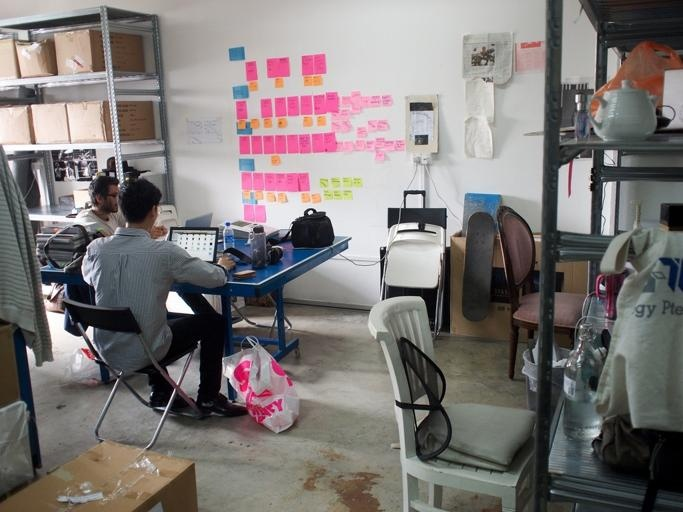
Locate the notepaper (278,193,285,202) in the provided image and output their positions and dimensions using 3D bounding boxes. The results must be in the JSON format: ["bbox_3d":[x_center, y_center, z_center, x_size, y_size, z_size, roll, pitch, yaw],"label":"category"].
[{"bbox_3d":[-0.596,-0.585,5.257,0.076,0.078,0.074,0,9,-2],"label":"notepaper"}]

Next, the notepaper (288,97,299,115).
[{"bbox_3d":[-0.467,-1.447,5.042,0.158,0.228,0.024,3,7,25],"label":"notepaper"}]

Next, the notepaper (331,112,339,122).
[{"bbox_3d":[-0.067,-1.293,4.907,0.073,0.073,0.046,0,1,20],"label":"notepaper"}]

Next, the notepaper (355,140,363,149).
[{"bbox_3d":[0.157,-1.029,4.872,0.079,0.092,0.003,1,11,18],"label":"notepaper"}]

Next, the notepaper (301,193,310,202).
[{"bbox_3d":[-0.357,-0.576,5.166,0.089,0.086,0.021,5,2,20],"label":"notepaper"}]

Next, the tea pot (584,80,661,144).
[{"bbox_3d":[0.886,-0.460,1.669,0.212,0.185,0.166,-2,10,6],"label":"tea pot"}]

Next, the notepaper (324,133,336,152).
[{"bbox_3d":[-0.118,-1.073,4.969,0.115,0.164,0.049,1,7,17],"label":"notepaper"}]

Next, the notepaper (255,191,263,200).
[{"bbox_3d":[-0.839,-0.617,5.333,0.069,0.069,0.040,8,17,25],"label":"notepaper"}]

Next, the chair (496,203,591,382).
[{"bbox_3d":[1.389,0.248,3.622,0.614,1.123,0.618,6,16,40],"label":"chair"}]

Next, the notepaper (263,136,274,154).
[{"bbox_3d":[-0.719,-1.108,5.196,0.156,0.165,0.106,3,6,18],"label":"notepaper"}]

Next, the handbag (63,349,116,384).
[{"bbox_3d":[-1.848,0.788,3.842,0.354,0.162,0.405,12,5,-13],"label":"handbag"}]

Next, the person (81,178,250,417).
[{"bbox_3d":[-1.081,0.302,3.328,0.904,1.471,0.779,-3,4,-34],"label":"person"}]

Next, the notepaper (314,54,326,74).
[{"bbox_3d":[-0.204,-1.789,4.877,0.157,0.226,0.024,3,6,21],"label":"notepaper"}]

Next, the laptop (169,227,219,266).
[{"bbox_3d":[-1.002,-0.052,3.445,0.330,0.233,0.255,1,8,23],"label":"laptop"}]

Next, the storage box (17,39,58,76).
[{"bbox_3d":[-3.028,-1.992,5.283,0.313,0.327,0.238,5,14,26],"label":"storage box"}]

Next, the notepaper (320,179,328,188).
[{"bbox_3d":[-0.177,-0.705,5.073,0.081,0.078,0.019,5,0,24],"label":"notepaper"}]

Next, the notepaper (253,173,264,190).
[{"bbox_3d":[-0.836,-0.760,5.308,0.152,0.219,0.023,3,5,24],"label":"notepaper"}]

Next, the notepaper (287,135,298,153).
[{"bbox_3d":[-0.478,-1.097,5.109,0.153,0.222,0.023,5,8,29],"label":"notepaper"}]

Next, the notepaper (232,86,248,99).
[{"bbox_3d":[-1.000,-1.624,5.212,0.189,0.130,0.009,2,12,24],"label":"notepaper"}]

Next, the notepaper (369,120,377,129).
[{"bbox_3d":[0.273,-1.201,4.803,0.069,0.070,0.069,8,17,26],"label":"notepaper"}]

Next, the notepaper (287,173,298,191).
[{"bbox_3d":[-0.484,-0.738,5.180,0.158,0.226,0.023,4,6,25],"label":"notepaper"}]

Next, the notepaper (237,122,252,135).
[{"bbox_3d":[-0.976,-1.270,5.269,0.186,0.145,0.104,11,18,29],"label":"notepaper"}]

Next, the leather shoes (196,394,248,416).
[{"bbox_3d":[-0.775,0.965,3.414,0.333,0.140,0.125,2,1,-3],"label":"leather shoes"}]

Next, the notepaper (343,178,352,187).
[{"bbox_3d":[0.046,-0.698,4.980,0.081,0.078,0.020,3,6,23],"label":"notepaper"}]

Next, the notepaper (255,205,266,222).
[{"bbox_3d":[-0.829,-0.441,5.367,0.151,0.216,0.021,2,4,22],"label":"notepaper"}]

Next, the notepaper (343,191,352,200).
[{"bbox_3d":[0.051,-0.581,5.010,0.081,0.079,0.019,4,1,18],"label":"notepaper"}]

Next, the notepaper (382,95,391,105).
[{"bbox_3d":[0.396,-1.396,4.727,0.078,0.083,0.028,2,5,13],"label":"notepaper"}]

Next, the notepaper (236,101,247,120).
[{"bbox_3d":[-0.997,-1.461,5.246,0.161,0.232,0.024,3,7,22],"label":"notepaper"}]

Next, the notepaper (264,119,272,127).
[{"bbox_3d":[-0.728,-1.309,5.166,0.092,0.091,0.010,2,12,23],"label":"notepaper"}]

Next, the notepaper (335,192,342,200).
[{"bbox_3d":[-0.042,-0.577,5.046,0.068,0.067,0.017,3,3,22],"label":"notepaper"}]
